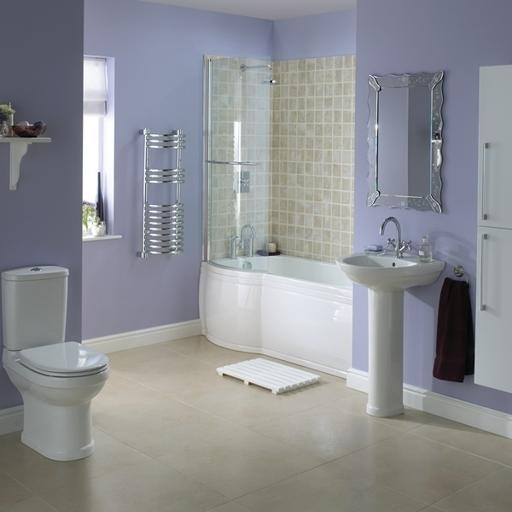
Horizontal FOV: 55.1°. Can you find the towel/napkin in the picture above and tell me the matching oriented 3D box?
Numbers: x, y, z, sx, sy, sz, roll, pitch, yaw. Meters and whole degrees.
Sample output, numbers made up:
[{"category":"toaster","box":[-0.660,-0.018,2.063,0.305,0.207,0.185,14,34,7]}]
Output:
[{"category":"towel/napkin","box":[1.166,0.434,2.887,0.226,0.594,0.148,4,7,28]}]

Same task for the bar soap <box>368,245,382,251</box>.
[{"category":"bar soap","box":[0.778,-0.048,3.223,0.041,0.028,0.053,-16,21,-39]}]

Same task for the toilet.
[{"category":"toilet","box":[-1.041,0.546,2.551,0.341,0.912,0.719,-6,9,-43]}]

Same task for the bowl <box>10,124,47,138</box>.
[{"category":"bowl","box":[-1.183,-0.645,2.535,0.083,0.053,0.117,0,14,-17]}]

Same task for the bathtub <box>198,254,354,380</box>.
[{"category":"bathtub","box":[0.147,0.450,4.132,1.584,0.835,0.210,6,9,40]}]
